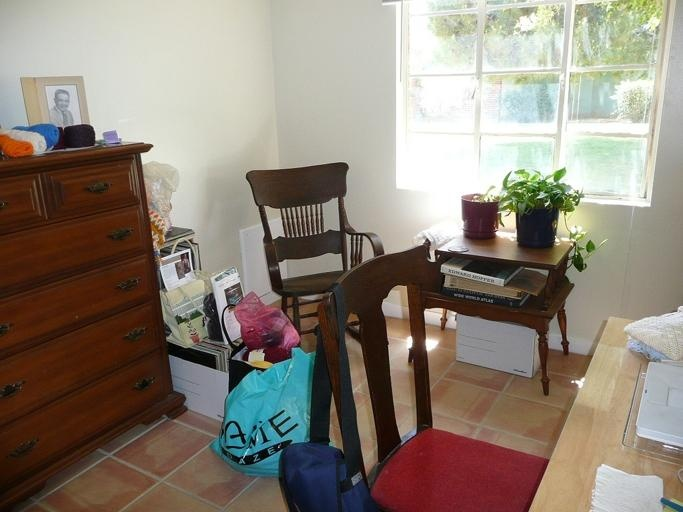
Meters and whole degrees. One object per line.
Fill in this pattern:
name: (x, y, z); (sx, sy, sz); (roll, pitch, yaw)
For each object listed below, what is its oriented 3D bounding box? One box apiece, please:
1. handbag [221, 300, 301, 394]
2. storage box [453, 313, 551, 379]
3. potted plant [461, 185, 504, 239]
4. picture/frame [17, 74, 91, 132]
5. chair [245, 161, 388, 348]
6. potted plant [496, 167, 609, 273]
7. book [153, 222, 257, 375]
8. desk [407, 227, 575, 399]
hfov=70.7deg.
handbag: (-0.437, 0.546, 2.735); (0.388, 0.626, 0.454); (-1, 8, 11)
storage box: (1.064, 0.530, 3.142); (0.581, 0.405, 0.318); (3, 6, 38)
potted plant: (0.820, -0.269, 2.951); (0.298, 0.312, 0.233); (-10, 15, -37)
picture/frame: (-1.468, -0.773, 2.437); (0.032, 0.324, 0.330); (2, 17, 37)
chair: (-0.156, 0.038, 3.223); (0.711, 1.137, 0.742); (-10, 17, -14)
potted plant: (1.194, -0.225, 2.748); (0.557, 0.389, 0.374); (20, 12, 41)
book: (-0.770, 0.227, 2.687); (0.518, 0.749, 0.209); (-8, 5, -43)
desk: (0.943, 0.280, 2.966); (0.817, 0.716, 0.601); (11, 21, 36)
